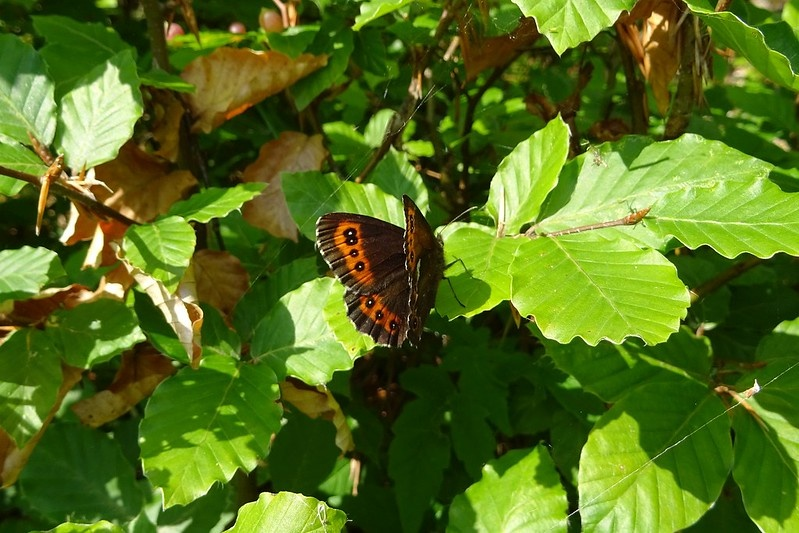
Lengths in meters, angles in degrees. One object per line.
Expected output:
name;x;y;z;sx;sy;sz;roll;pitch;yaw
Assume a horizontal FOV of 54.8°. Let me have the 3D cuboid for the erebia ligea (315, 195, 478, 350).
erebia ligea;0.034;0.013;1.920;0.243;0.329;0.433;-1;-2;-40
